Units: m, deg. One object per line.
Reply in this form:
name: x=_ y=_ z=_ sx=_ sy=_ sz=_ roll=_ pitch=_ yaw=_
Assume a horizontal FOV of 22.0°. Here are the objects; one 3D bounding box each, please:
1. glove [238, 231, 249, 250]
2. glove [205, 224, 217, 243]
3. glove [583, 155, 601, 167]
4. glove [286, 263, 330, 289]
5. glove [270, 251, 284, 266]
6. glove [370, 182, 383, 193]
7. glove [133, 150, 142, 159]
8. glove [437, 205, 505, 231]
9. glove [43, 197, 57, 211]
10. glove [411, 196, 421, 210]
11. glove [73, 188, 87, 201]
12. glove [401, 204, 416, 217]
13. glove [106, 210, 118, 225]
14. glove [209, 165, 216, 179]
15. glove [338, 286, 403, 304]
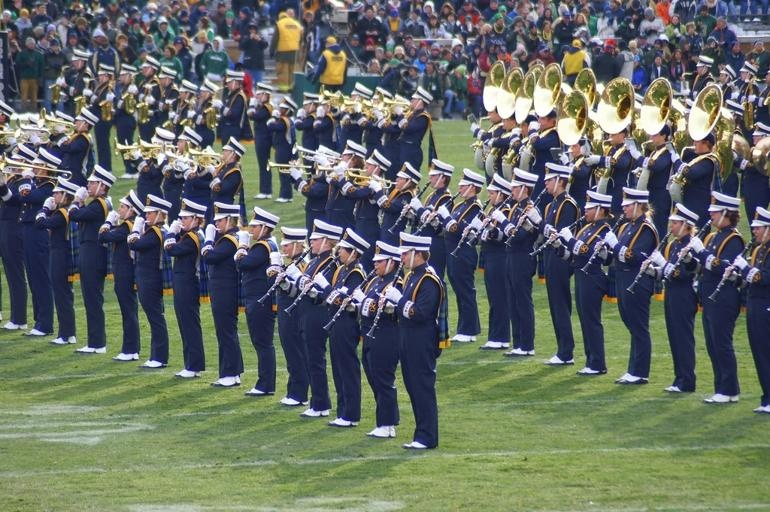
glove: x=-2.334 y=-0.269 z=33.010 sx=0.180 sy=0.274 sz=0.215 roll=1 pitch=5 yaw=-3
glove: x=-2.930 y=-0.367 z=33.363 sx=0.115 sy=0.262 sz=0.207 roll=10 pitch=-1 yaw=4
glove: x=3.710 y=-1.666 z=35.066 sx=0.308 sy=0.173 sz=0.208 roll=0 pitch=5 yaw=-9
glove: x=-1.285 y=0.317 z=32.276 sx=0.561 sy=0.141 sz=0.384 roll=-15 pitch=21 yaw=-27
glove: x=-1.790 y=0.062 z=32.606 sx=0.238 sy=0.216 sz=0.228 roll=4 pitch=-26 yaw=-12
glove: x=-0.141 y=-1.247 z=35.964 sx=0.234 sy=0.210 sz=0.223 roll=1 pitch=5 yaw=-3
glove: x=-4.741 y=-1.928 z=37.944 sx=0.180 sy=0.148 sz=0.164 roll=2 pitch=2 yaw=-6
glove: x=1.430 y=-0.655 z=34.786 sx=1.009 sy=0.388 sz=0.728 roll=2 pitch=5 yaw=10
glove: x=-5.956 y=-0.909 z=35.194 sx=0.205 sy=0.227 sz=0.091 roll=14 pitch=-6 yaw=1
glove: x=0.582 y=-0.905 z=35.436 sx=0.174 sy=0.209 sz=0.283 roll=-1 pitch=5 yaw=-20
glove: x=-5.354 y=-1.072 z=35.070 sx=0.198 sy=0.193 sz=0.240 roll=14 pitch=4 yaw=-35
glove: x=0.448 y=-0.811 z=35.514 sx=0.267 sy=0.216 sz=0.176 roll=8 pitch=7 yaw=-6
glove: x=-4.744 y=-0.644 z=34.404 sx=0.234 sy=0.241 sz=0.264 roll=0 pitch=5 yaw=-8
glove: x=-3.258 y=-1.585 z=37.417 sx=0.078 sy=0.197 sz=0.161 roll=-6 pitch=-2 yaw=-14
glove: x=-0.155 y=0.597 z=31.258 sx=1.109 sy=0.309 sz=0.376 roll=4 pitch=6 yaw=40
